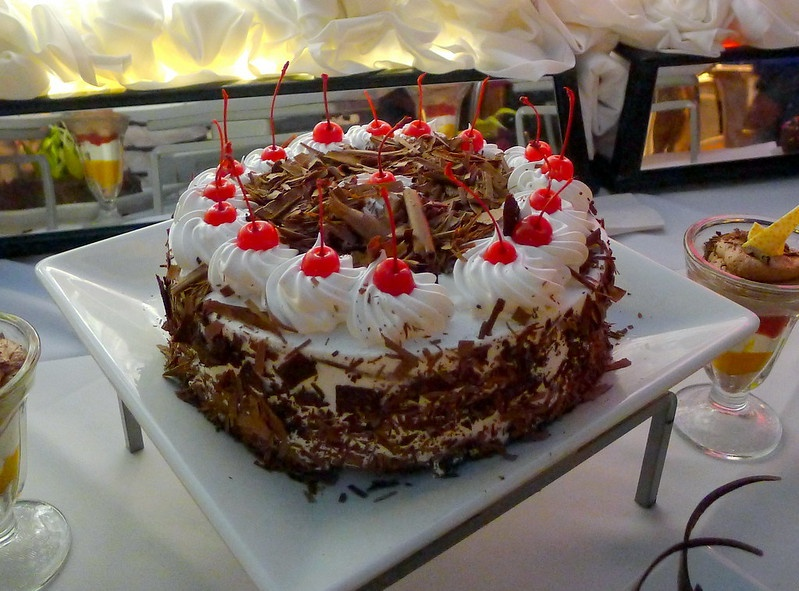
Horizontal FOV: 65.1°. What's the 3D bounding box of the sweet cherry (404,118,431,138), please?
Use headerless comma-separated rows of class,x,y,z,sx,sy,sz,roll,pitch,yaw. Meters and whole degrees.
sweet cherry,0.049,-0.416,1.613,0.055,0.058,0.057,6,-8,10

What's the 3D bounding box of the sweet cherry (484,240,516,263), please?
sweet cherry,0.185,-0.076,1.128,0.045,0.043,0.046,-5,52,5

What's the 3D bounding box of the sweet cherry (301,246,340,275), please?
sweet cherry,-0.138,-0.058,1.091,0.054,0.056,0.056,-2,21,-2

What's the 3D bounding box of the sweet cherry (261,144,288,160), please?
sweet cherry,-0.306,-0.348,1.526,0.047,0.049,0.046,-7,-9,-1

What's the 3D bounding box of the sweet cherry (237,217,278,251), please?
sweet cherry,-0.260,-0.109,1.155,0.058,0.060,0.060,-2,21,-3

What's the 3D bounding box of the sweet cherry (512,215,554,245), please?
sweet cherry,0.251,-0.120,1.185,0.063,0.064,0.061,-3,45,-4

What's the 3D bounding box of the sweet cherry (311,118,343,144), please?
sweet cherry,-0.177,-0.420,1.570,0.062,0.061,0.064,7,29,5

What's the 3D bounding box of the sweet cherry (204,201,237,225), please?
sweet cherry,-0.355,-0.161,1.239,0.049,0.047,0.050,2,36,-6
